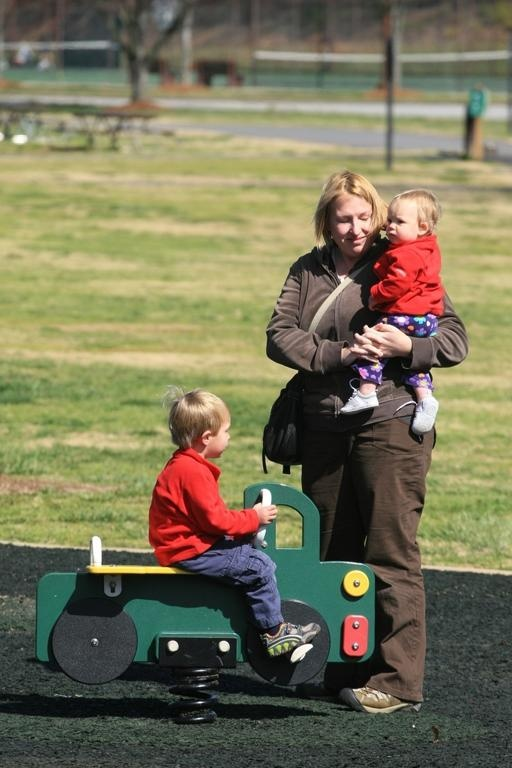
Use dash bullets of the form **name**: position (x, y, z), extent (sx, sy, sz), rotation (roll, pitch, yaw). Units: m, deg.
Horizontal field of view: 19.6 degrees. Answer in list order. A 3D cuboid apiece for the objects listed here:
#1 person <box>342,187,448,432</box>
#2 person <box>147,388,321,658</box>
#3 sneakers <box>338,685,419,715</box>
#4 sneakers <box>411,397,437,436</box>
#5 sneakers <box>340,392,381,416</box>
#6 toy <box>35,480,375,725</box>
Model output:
- **person**: position (0.513, -0.269, 5.475), extent (0.342, 0.870, 0.419), rotation (4, 13, 6)
- **person**: position (-0.084, 0.496, 5.348), extent (0.631, 0.918, 0.325), rotation (3, 13, 4)
- **sneakers**: position (0.431, 1.151, 5.491), extent (0.303, 0.132, 0.100), rotation (10, -5, -5)
- **sneakers**: position (0.627, 0.112, 5.448), extent (0.071, 0.145, 0.120), rotation (12, 16, 38)
- **sneakers**: position (0.371, 0.070, 5.415), extent (0.174, 0.081, 0.059), rotation (-12, -5, 17)
- **toy**: position (-0.168, 0.837, 5.492), extent (0.921, 0.636, 0.272), rotation (0, -4, -3)
